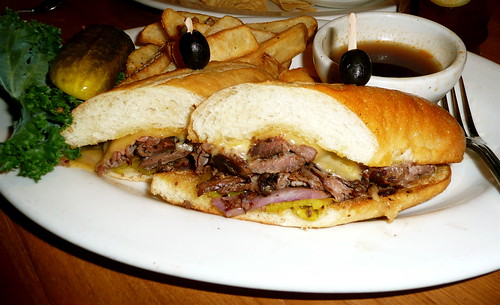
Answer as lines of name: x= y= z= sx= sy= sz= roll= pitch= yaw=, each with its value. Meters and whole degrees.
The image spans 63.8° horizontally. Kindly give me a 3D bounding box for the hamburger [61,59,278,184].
hamburger: x=-0.751 y=-0.234 z=3.880 sx=1.224 sy=1.315 sz=0.956 roll=-4 pitch=89 yaw=5
